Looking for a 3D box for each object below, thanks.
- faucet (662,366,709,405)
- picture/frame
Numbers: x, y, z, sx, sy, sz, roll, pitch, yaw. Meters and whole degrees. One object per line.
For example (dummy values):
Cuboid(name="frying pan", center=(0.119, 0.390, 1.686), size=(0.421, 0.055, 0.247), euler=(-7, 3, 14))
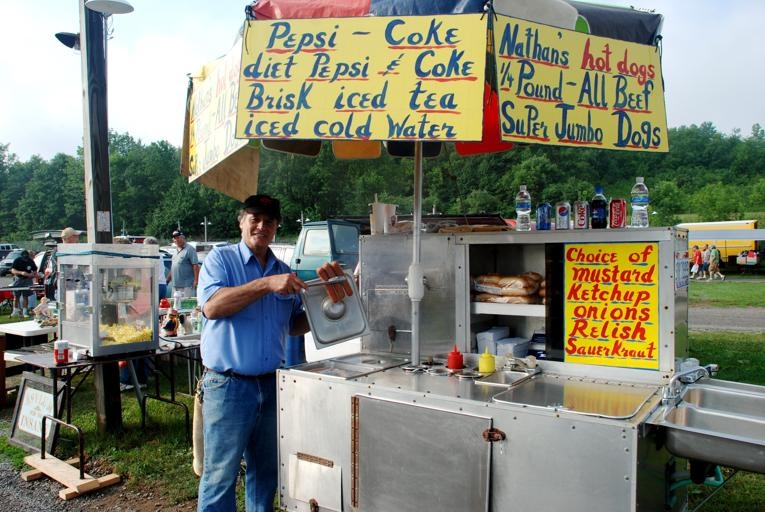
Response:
Cuboid(name="faucet", center=(2.156, 0.897, 4.876), size=(0.808, 0.194, 0.093), euler=(-10, 13, -43))
Cuboid(name="picture/frame", center=(-3.576, 1.658, 7.150), size=(0.085, 0.807, 0.881), euler=(6, -4, -43))
